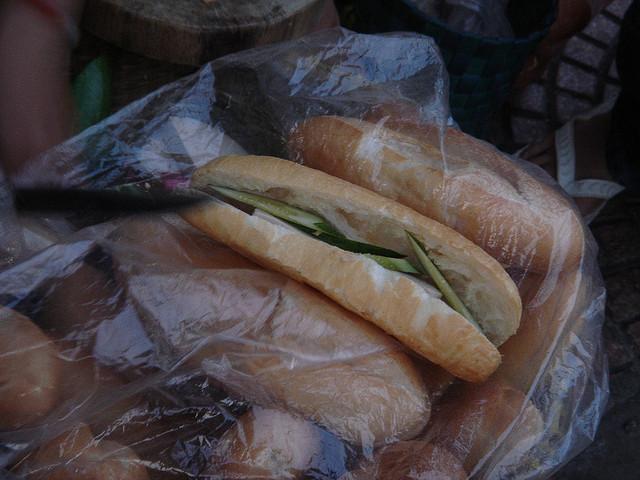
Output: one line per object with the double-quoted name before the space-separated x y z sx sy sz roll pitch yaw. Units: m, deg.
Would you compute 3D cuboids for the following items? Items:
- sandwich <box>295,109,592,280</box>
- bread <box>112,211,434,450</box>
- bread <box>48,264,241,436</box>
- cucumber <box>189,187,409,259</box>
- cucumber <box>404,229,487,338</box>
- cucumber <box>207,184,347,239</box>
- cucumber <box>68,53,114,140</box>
"sandwich" 0.304 -0.109 1.651 0.805 0.226 0.272 27 106 7
"bread" -0.156 0.191 1.528 0.814 0.408 0.263 35 102 8
"bread" -0.407 0.302 1.463 0.475 0.109 0.249 44 62 -3
"cucumber" -0.032 -0.041 1.577 0.345 0.019 0.058 26 78 10
"cucumber" 0.296 0.107 1.505 0.021 0.036 0.272 -26 78 -1
"cucumber" -0.096 -0.068 1.587 0.240 0.021 0.036 25 53 3
"cucumber" -0.657 -0.424 1.836 0.049 0.137 0.234 17 83 12
